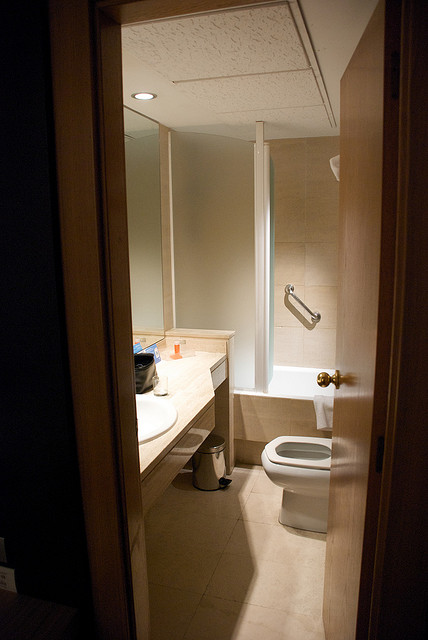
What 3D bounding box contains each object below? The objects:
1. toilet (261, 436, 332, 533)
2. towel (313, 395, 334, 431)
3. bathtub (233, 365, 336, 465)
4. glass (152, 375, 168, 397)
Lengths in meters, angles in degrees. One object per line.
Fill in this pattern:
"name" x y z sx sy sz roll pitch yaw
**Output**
"toilet" 0.420 0.755 2.352 0.403 0.406 0.390 -1 9 10
"towel" 0.620 0.540 2.736 0.107 0.215 0.112 3 6 29
"bathtub" 0.452 0.583 3.270 0.746 0.720 0.378 -1 -20 18
"glass" -0.231 0.284 2.053 0.052 0.089 0.068 0 4 5
